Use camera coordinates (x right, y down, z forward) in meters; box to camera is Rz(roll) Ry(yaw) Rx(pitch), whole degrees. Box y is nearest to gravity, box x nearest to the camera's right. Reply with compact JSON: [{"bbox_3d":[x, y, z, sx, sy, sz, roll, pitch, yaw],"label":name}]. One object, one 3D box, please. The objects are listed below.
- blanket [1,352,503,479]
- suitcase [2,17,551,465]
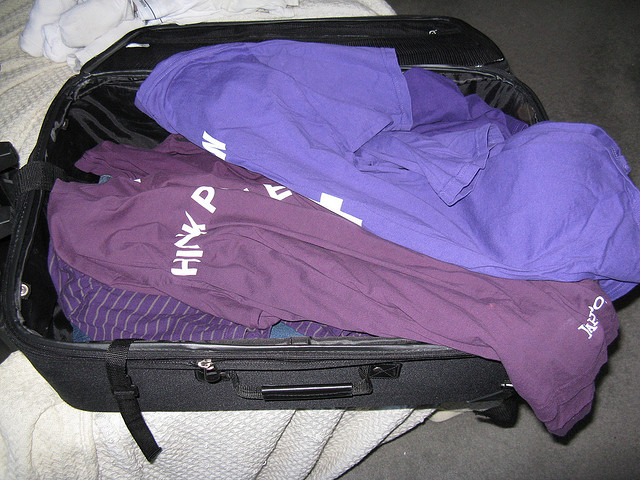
[{"bbox_3d":[-0.235,0.482,1.450,0.892,0.177,0.474,0,28,-10],"label":"blanket"},{"bbox_3d":[-0.084,-0.084,1.575,1.352,0.675,1.087,-5,41,-2],"label":"suitcase"}]
